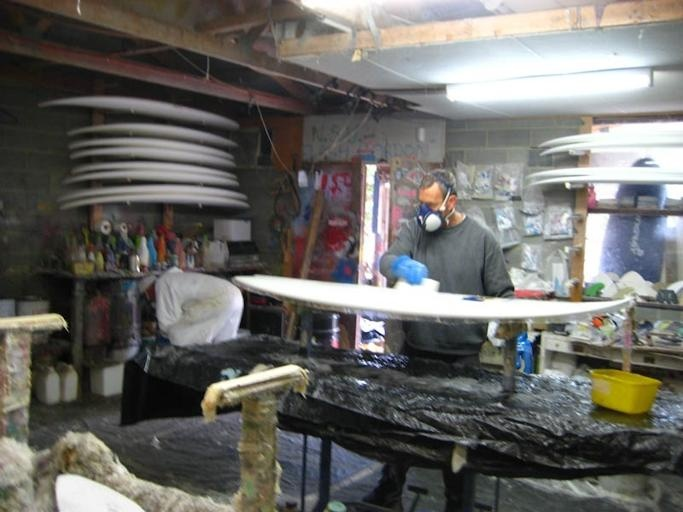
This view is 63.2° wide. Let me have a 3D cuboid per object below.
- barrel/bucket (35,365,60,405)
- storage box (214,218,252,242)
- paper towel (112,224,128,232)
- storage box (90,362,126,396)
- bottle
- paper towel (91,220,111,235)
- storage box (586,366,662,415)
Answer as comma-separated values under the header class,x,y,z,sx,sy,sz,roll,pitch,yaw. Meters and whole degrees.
class,x,y,z,sx,sy,sz,roll,pitch,yaw
barrel/bucket,-2.720,1.183,5.100,0.235,0.328,0.099,1,3,-3
storage box,-1.313,-0.312,6.704,0.458,0.263,0.441,0,4,-14
paper towel,-2.311,-0.300,5.799,0.139,0.108,0.304,-1,4,-22
storage box,-2.294,1.198,5.454,0.247,0.304,0.324,0,2,17
bottle,-1.861,-0.094,5.905,0.440,0.345,0.640,4,-6,-16
paper towel,-2.432,-0.289,5.680,0.128,0.156,0.225,2,4,24
storage box,1.503,0.724,2.976,0.251,0.175,0.356,4,0,-11
